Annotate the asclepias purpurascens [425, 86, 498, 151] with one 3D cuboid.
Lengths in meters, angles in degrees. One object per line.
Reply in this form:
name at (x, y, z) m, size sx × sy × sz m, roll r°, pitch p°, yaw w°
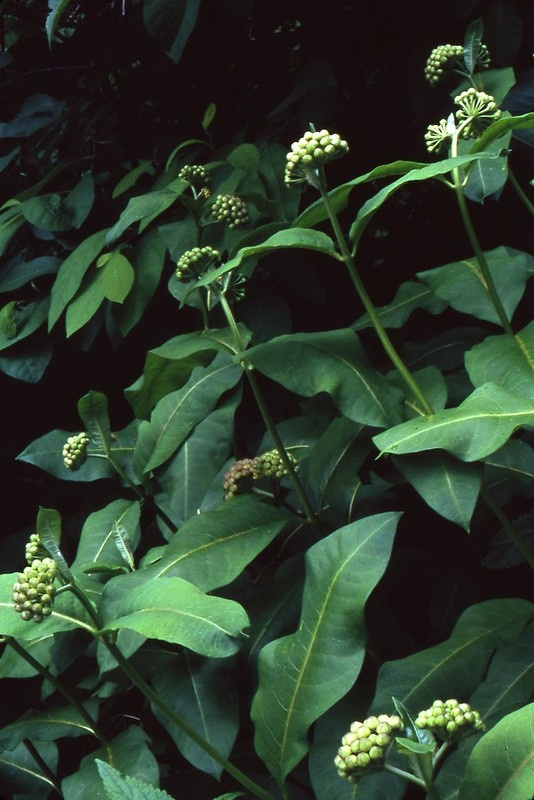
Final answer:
asclepias purpurascens at (0.351, -0.535, 1.554) m, size 0.138 × 0.092 × 0.198 m, roll -26°, pitch 18°, yaw 5°
